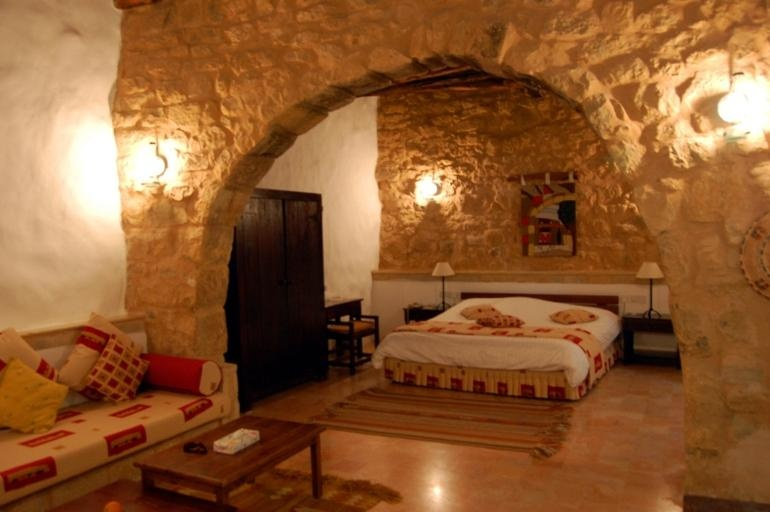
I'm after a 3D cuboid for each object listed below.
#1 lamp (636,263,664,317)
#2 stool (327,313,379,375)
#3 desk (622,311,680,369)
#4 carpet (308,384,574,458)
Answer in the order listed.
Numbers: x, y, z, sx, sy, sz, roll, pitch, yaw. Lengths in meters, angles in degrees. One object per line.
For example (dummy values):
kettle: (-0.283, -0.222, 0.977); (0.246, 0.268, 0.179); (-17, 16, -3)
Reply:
lamp: (3.448, 0.438, 6.813); (0.311, 0.692, 0.469); (1, 7, 25)
stool: (-0.494, 1.090, 7.016); (0.652, 0.730, 1.000); (1, 3, 24)
desk: (3.434, 1.066, 6.737); (0.657, 0.616, 0.538); (1, 7, 25)
carpet: (0.637, 1.579, 5.182); (2.292, 0.057, 1.340); (1, 6, 20)
